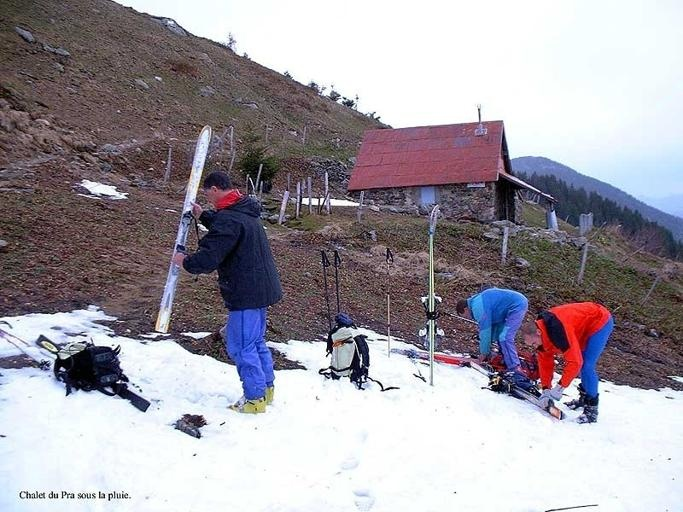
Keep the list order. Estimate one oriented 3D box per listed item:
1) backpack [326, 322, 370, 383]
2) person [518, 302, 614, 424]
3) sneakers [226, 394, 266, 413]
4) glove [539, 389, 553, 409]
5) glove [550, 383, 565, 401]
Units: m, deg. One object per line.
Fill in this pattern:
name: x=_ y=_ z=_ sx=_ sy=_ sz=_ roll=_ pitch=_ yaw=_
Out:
backpack: x=0.079 y=1.397 z=6.905 sx=0.493 sy=0.841 sz=0.747 roll=-6 pitch=8 yaw=-27
person: x=3.280 y=1.509 z=7.037 sx=1.268 sy=1.662 sz=0.593 roll=1 pitch=6 yaw=-25
sneakers: x=-1.175 y=1.774 z=5.896 sx=0.506 sy=0.203 sz=0.167 roll=4 pitch=2 yaw=12
glove: x=2.903 y=2.018 z=6.930 sx=0.125 sy=0.136 sz=0.341 roll=-2 pitch=23 yaw=27
glove: x=3.062 y=1.902 z=6.917 sx=0.150 sy=0.226 sz=0.198 roll=7 pitch=6 yaw=25
